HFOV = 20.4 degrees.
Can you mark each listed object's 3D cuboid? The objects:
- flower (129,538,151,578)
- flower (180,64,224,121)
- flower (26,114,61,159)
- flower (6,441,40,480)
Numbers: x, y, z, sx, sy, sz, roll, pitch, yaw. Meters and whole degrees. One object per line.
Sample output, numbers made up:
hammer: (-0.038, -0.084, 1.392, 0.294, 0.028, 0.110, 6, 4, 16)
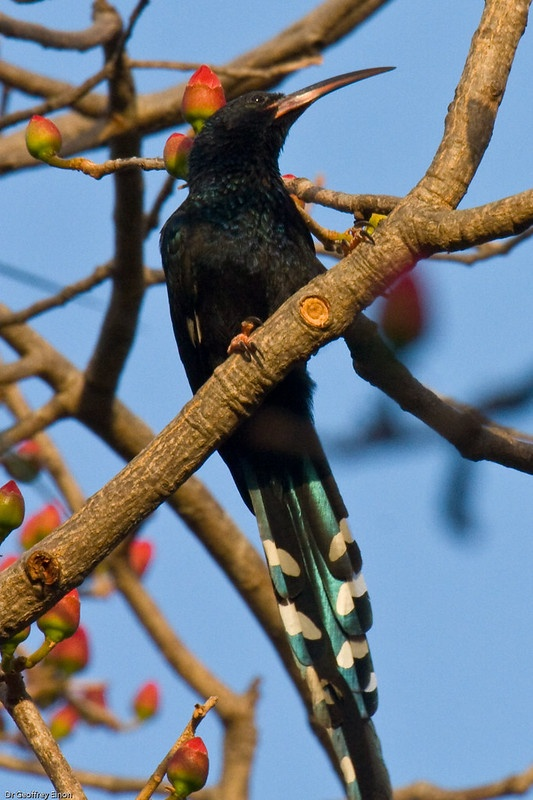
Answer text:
flower: (-0.492, 0.601, 5.758, 0.087, 0.176, 0.283, 1, -20, -3)
flower: (-0.190, -0.916, 4.372, 0.119, 0.214, 0.150, 2, -19, -4)
flower: (-0.651, -0.765, 4.307, 0.093, 0.152, 0.155, 3, -20, -7)
flower: (-0.707, 0.171, 4.263, 0.057, 0.145, 0.099, 4, 3, 43)
